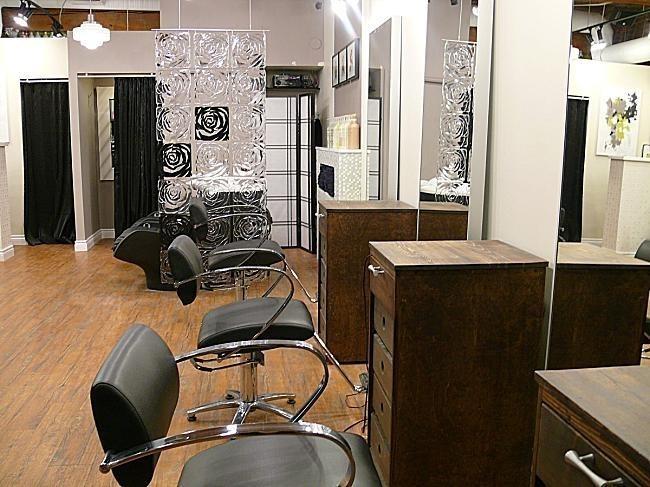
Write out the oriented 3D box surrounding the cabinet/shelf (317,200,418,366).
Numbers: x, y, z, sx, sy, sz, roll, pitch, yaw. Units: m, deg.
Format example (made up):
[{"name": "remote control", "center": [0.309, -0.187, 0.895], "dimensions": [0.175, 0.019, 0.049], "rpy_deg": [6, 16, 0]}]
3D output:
[{"name": "cabinet/shelf", "center": [0.194, 0.171, 3.747], "dimensions": [0.814, 1.422, 0.955], "rpy_deg": [2, 11, 2]}]
